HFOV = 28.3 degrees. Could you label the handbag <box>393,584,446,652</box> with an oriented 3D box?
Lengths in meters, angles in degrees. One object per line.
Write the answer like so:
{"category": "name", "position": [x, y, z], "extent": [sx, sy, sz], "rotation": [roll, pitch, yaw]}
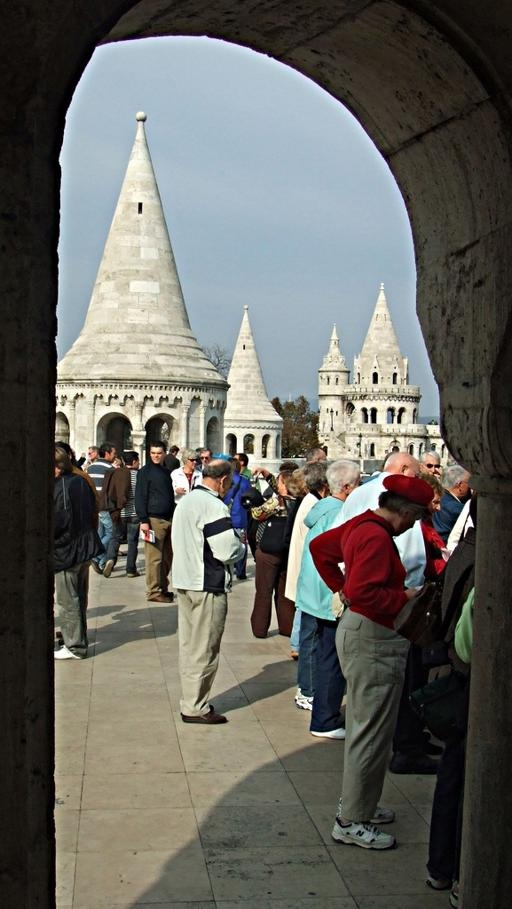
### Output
{"category": "handbag", "position": [0.675, 0.647, 4.058], "extent": [0.159, 0.242, 0.284], "rotation": [3, 2, 40]}

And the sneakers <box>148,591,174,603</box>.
{"category": "sneakers", "position": [-0.962, 1.442, 10.211], "extent": [0.293, 0.130, 0.099], "rotation": [-4, 9, -5]}

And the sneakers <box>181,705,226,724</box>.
{"category": "sneakers", "position": [-0.289, 1.522, 5.963], "extent": [0.230, 0.098, 0.100], "rotation": [-1, -2, -2]}

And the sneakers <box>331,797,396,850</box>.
{"category": "sneakers", "position": [0.463, 1.536, 4.305], "extent": [0.198, 0.094, 0.282], "rotation": [-1, 6, 4]}

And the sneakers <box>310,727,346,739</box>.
{"category": "sneakers", "position": [0.406, 1.577, 5.711], "extent": [0.193, 0.060, 0.070], "rotation": [-2, -8, 6]}

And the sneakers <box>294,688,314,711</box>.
{"category": "sneakers", "position": [0.294, 1.549, 6.363], "extent": [0.061, 0.098, 0.171], "rotation": [1, -3, -32]}

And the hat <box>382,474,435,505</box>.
{"category": "hat", "position": [0.624, 0.156, 4.177], "extent": [0.192, 0.134, 0.115], "rotation": [2, 2, 7]}
